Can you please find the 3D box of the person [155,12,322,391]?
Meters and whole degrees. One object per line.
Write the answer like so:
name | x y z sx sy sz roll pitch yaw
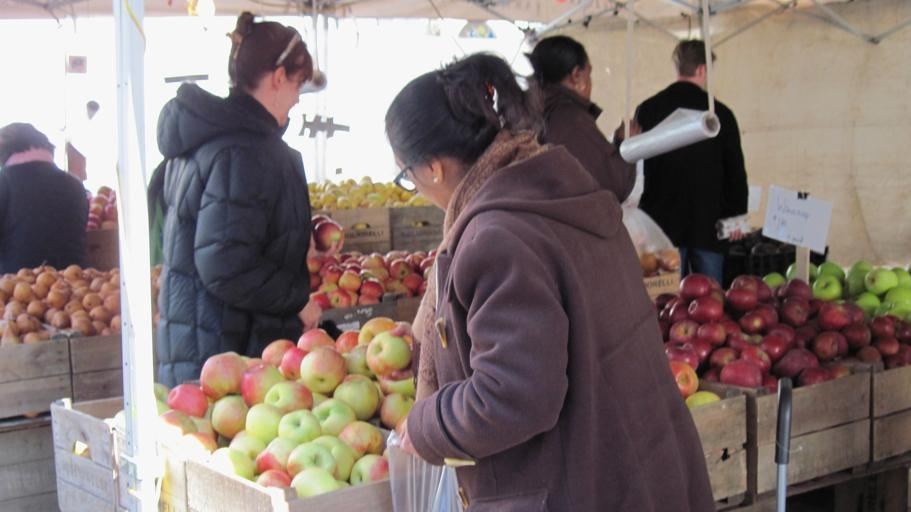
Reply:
person | -1.549 -0.339 5.331 1.190 2.361 1.004 -1 3 -39

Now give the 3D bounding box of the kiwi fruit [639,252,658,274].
kiwi fruit | 1.428 0.042 5.595 0.114 0.111 0.113 -52 21 -24

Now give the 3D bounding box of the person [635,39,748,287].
person | 2.185 -0.705 7.212 1.054 2.474 0.998 2 2 1
